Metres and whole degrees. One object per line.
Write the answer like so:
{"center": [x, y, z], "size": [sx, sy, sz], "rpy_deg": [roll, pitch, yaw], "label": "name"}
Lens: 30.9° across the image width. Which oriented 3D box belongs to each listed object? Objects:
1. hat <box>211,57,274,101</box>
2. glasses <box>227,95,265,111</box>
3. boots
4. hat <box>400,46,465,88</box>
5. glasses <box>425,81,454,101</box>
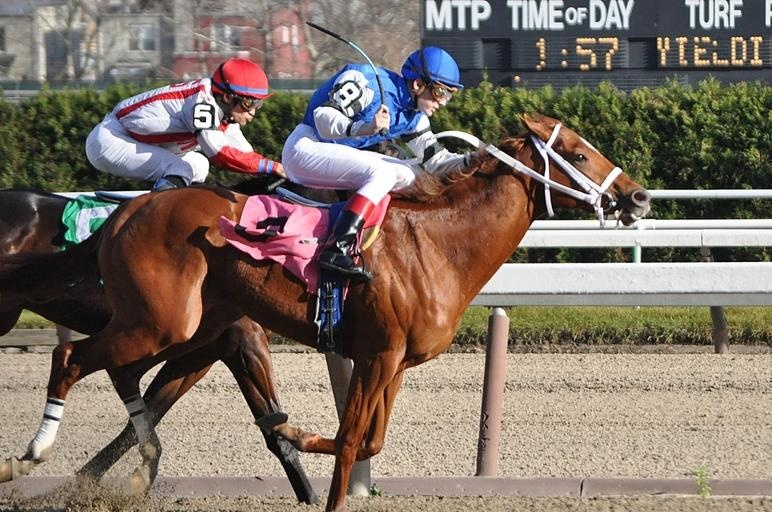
{"center": [-1.110, -1.407, 10.819], "size": [0.512, 0.265, 0.399], "rpy_deg": [11, 17, 12], "label": "hat"}
{"center": [-1.103, -1.204, 10.781], "size": [0.143, 0.050, 0.151], "rpy_deg": [10, 19, -43], "label": "glasses"}
{"center": [-0.273, -0.131, 10.310], "size": [0.414, 0.525, 0.257], "rpy_deg": [16, -5, 15], "label": "boots"}
{"center": [0.386, -1.477, 10.761], "size": [0.529, 0.283, 0.364], "rpy_deg": [17, 14, 30], "label": "hat"}
{"center": [0.400, -1.281, 10.665], "size": [0.129, 0.087, 0.167], "rpy_deg": [2, 25, -41], "label": "glasses"}
